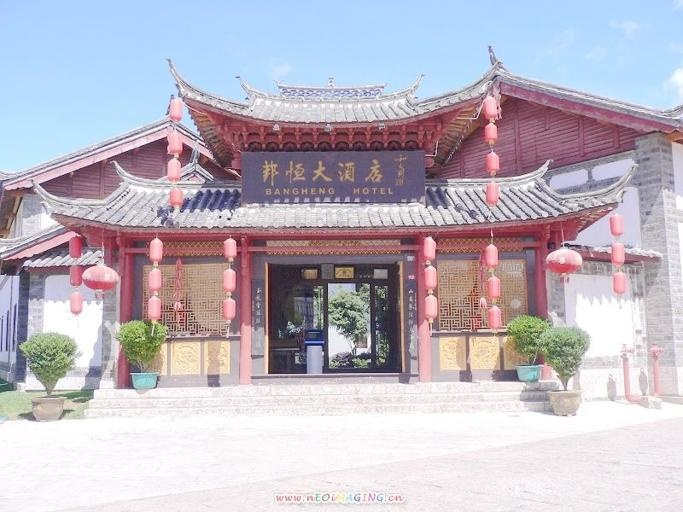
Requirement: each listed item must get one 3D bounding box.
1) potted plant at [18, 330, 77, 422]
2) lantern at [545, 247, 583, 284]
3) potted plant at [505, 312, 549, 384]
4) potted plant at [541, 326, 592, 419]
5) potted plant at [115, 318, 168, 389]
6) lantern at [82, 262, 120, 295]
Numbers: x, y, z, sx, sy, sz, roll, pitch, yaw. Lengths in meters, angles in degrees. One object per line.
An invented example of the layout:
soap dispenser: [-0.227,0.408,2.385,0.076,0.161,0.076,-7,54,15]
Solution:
potted plant: [-6.937,2.861,14.946,1.395,1.954,1.401,8,-19,-33]
lantern: [5.355,0.152,15.091,0.924,0.926,0.944,6,5,32]
potted plant: [4.570,2.309,15.588,1.489,1.699,1.401,0,-9,-1]
potted plant: [5.208,2.603,14.569,1.040,2.045,0.997,-5,-11,25]
potted plant: [-4.798,2.382,15.327,1.148,1.577,1.275,-2,-8,-22]
lantern: [-5.587,0.513,14.644,0.711,0.674,0.692,0,1,-4]
